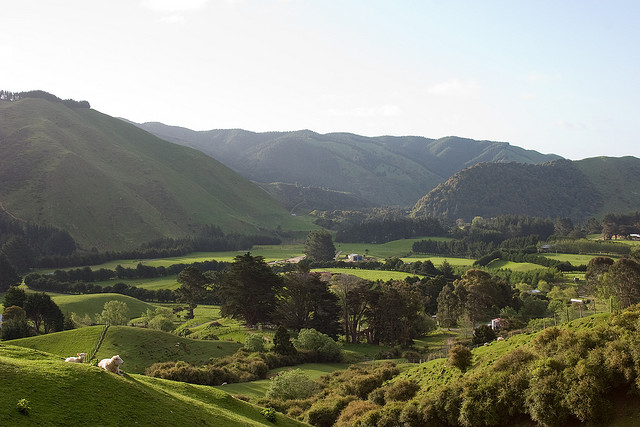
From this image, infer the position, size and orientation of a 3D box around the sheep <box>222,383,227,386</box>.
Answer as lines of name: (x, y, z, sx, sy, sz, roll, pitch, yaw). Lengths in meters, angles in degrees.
sheep: (-15.495, 27.643, 95.053, 0.678, 0.250, 1.137, 7, -5, -2)
